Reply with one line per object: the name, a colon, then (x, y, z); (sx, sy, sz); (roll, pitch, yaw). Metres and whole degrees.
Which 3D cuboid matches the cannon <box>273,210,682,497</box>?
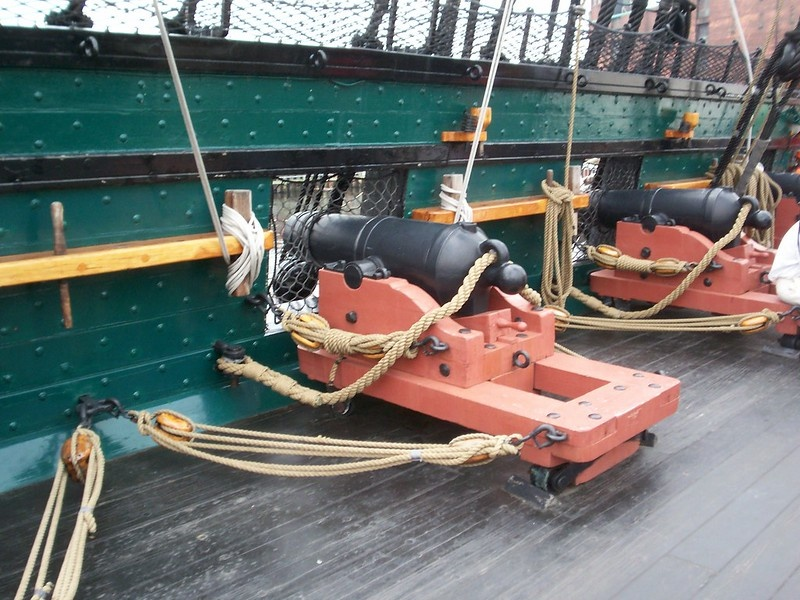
cannon: (0.205, 0.096, 2.798); (2.091, 0.832, 1.022); (14, 24, 27)
